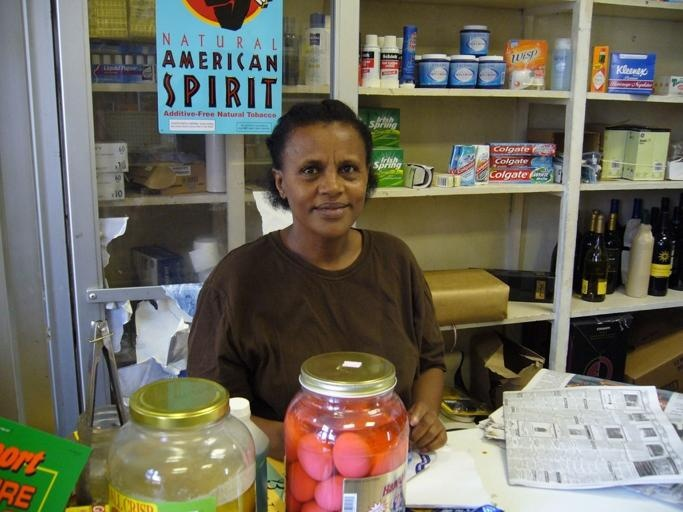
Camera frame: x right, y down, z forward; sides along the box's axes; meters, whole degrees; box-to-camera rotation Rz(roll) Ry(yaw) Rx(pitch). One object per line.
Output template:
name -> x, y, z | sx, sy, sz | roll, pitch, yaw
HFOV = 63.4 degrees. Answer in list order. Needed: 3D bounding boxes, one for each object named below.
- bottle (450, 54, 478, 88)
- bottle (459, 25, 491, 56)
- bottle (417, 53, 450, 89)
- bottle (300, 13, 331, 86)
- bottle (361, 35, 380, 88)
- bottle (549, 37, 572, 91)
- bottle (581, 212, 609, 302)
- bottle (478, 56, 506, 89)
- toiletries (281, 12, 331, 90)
bottle -> 0.480, -0.729, 2.207 | 0.122, 0.117, 0.122 | 1, 11, 1
bottle -> 0.536, -0.887, 2.290 | 0.127, 0.123, 0.128 | 12, 20, 31
bottle -> 0.357, -0.717, 2.182 | 0.132, 0.122, 0.131 | -4, 11, -23
bottle -> -0.097, -0.751, 1.979 | 0.104, 0.297, 0.158 | -9, 22, -25
bottle -> 0.114, -0.731, 2.085 | 0.078, 0.189, 0.094 | -2, 14, -5
bottle -> 0.922, -0.803, 2.325 | 0.065, 0.213, 0.072 | -6, 15, -21
bottle -> 1.206, 0.004, 2.606 | 0.121, 0.412, 0.112 | 0, 14, 0
bottle -> 0.600, -0.735, 2.252 | 0.126, 0.122, 0.125 | 0, 10, 2
toiletries -> -0.132, -0.738, 1.961 | 0.236, 0.302, 0.162 | 3, 15, 6
